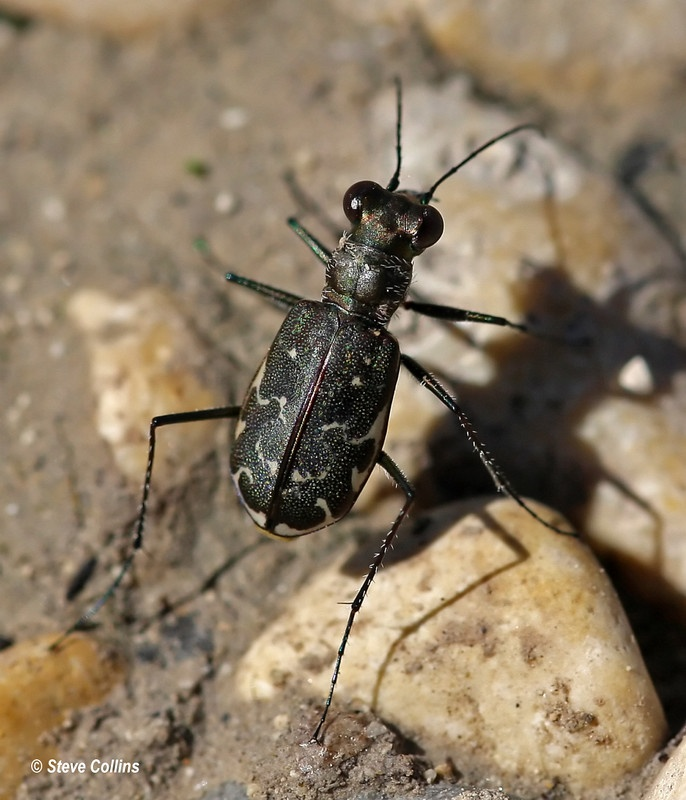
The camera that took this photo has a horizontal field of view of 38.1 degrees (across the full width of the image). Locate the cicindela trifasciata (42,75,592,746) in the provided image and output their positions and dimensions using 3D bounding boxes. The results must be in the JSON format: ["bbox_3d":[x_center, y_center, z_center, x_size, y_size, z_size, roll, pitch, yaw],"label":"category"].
[{"bbox_3d":[-0.023,-0.051,4.084,1.332,0.696,1.837,15,82,3],"label":"cicindela trifasciata"}]
